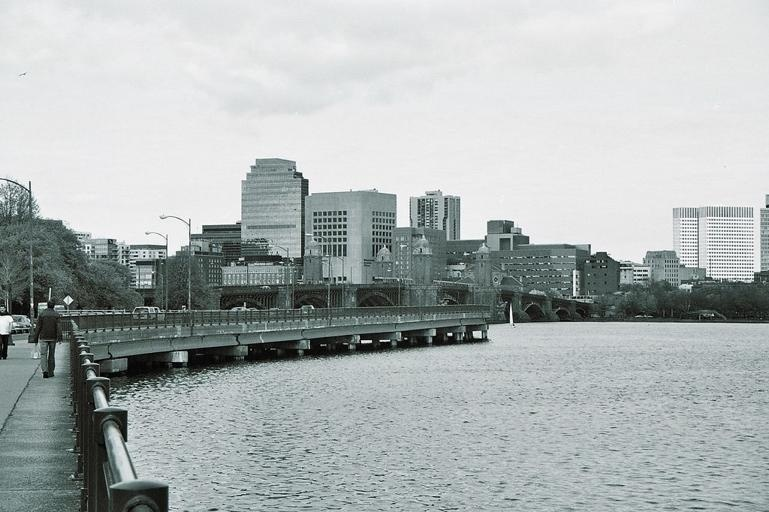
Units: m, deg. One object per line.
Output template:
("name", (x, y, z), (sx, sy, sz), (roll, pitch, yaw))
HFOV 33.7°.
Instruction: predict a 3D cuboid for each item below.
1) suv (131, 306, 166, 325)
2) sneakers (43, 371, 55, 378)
("suv", (-17.471, 4.343, 92.857), (1.772, 1.240, 3.219), (-2, -8, 8))
("sneakers", (-14.306, 4.980, 53.785), (0.240, 0.260, 0.584), (-1, -3, 26))
